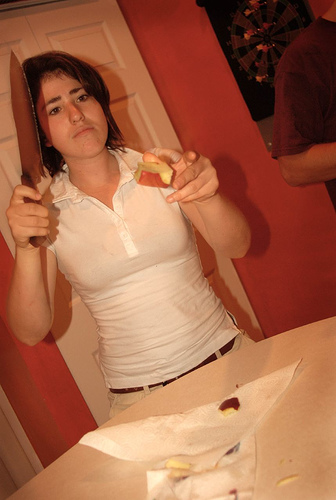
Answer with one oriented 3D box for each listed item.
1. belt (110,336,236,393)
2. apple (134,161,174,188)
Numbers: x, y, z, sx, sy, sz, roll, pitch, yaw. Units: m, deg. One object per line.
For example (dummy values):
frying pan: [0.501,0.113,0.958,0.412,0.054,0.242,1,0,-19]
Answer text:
belt: [0.042,0.303,1.183,0.209,0.048,0.179,-1,56,1]
apple: [-0.022,-0.164,0.935,0.062,0.022,0.061,0,-27,-9]
